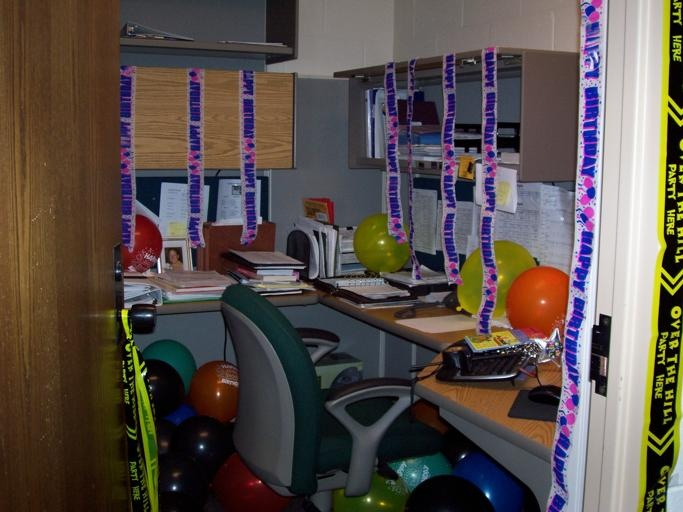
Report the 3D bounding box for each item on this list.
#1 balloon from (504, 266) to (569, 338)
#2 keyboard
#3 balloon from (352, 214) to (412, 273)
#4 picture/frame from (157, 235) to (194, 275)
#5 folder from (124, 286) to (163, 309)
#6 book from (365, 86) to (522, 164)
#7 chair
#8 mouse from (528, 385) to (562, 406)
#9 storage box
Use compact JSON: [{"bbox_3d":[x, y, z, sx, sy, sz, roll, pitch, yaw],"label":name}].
[{"bbox_3d":[0.691,0.158,1.911,0.234,0.252,0.223,1,6,28],"label":"balloon"},{"bbox_3d":[0.403,0.317,1.539,0.156,0.043,0.126,-6,15,6],"label":"keyboard"},{"bbox_3d":[0.192,-0.053,2.601,0.196,0.218,0.192,23,-10,36],"label":"balloon"},{"bbox_3d":[-0.799,-0.003,2.591,0.178,0.191,0.019,6,-17,-29],"label":"picture/frame"},{"bbox_3d":[-0.735,0.152,2.002,0.128,0.043,0.135,-6,14,-30],"label":"folder"},{"bbox_3d":[0.410,-0.603,2.455,0.512,0.130,0.551,-5,11,-25],"label":"book"},{"bbox_3d":[-0.025,0.370,2.126,0.830,0.835,0.636,-6,10,-25],"label":"chair"},{"bbox_3d":[0.534,0.357,1.428,0.077,0.035,0.101,0,7,23],"label":"mouse"},{"bbox_3d":[-0.526,-0.044,2.612,0.253,0.219,0.081,1,0,-26],"label":"storage box"}]
